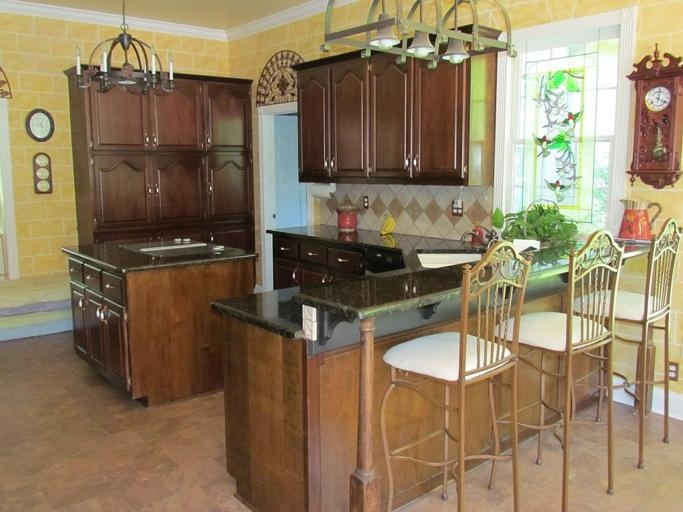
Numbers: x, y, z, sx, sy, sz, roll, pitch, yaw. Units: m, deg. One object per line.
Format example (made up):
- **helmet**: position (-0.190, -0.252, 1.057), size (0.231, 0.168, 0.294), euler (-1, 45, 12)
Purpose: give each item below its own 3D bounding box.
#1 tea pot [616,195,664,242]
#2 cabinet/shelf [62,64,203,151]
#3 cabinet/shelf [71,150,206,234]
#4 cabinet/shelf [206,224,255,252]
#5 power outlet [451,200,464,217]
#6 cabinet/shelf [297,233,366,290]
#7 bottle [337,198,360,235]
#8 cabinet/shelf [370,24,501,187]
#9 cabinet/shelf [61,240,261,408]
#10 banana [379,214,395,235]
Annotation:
- **tea pot**: position (2.103, -0.263, 3.978), size (0.417, 0.387, 0.276), euler (3, 4, 35)
- **cabinet/shelf**: position (-2.218, -1.556, 6.337), size (1.440, 0.877, 0.501), euler (-9, 16, -40)
- **cabinet/shelf**: position (-2.287, -0.481, 6.539), size (0.608, 1.380, 1.517), euler (10, 13, 34)
- **cabinet/shelf**: position (-1.311, -0.222, 6.907), size (0.544, 0.481, 0.325), euler (-10, 16, -42)
- **power outlet**: position (1.032, -0.419, 5.068), size (0.110, 0.154, 0.026), euler (8, 15, 43)
- **cabinet/shelf**: position (-0.111, 0.057, 5.353), size (0.416, 0.712, 0.789), euler (-5, 9, -39)
- **bottle**: position (0.073, -0.406, 5.788), size (0.224, 0.319, 0.449), euler (-2, 10, 1)
- **cabinet/shelf**: position (0.676, -1.289, 5.465), size (0.961, 1.887, 1.290), euler (-7, 11, -41)
- **cabinet/shelf**: position (-1.500, 0.414, 4.726), size (1.165, 1.100, 1.760), euler (-4, 7, -37)
- **banana**: position (0.460, -0.306, 5.585), size (0.080, 0.195, 0.160), euler (26, -7, -26)
